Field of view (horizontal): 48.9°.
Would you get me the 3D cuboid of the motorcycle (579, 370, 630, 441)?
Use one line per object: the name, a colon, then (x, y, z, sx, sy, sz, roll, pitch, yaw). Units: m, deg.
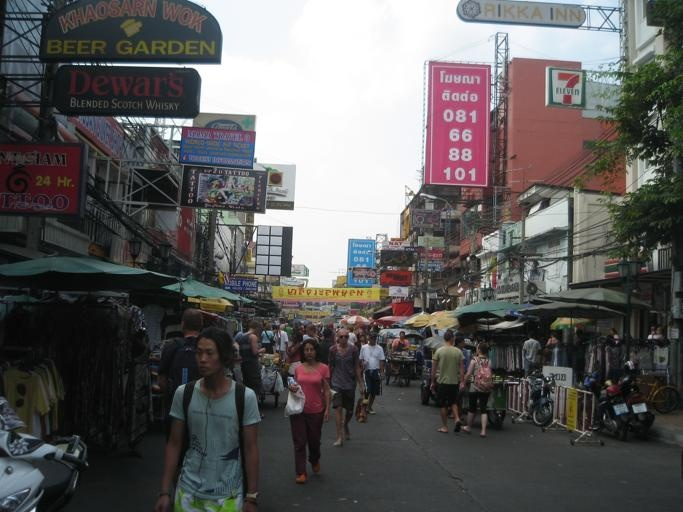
motorcycle: (5.799, 3.134, 16.343, 0.756, 1.353, 1.925, -4, 4, -5)

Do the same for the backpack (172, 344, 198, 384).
backpack: (-2.237, 1.563, 10.720, 0.428, 0.667, 0.359, 4, 20, -10)

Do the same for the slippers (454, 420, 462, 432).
slippers: (2.472, 3.675, 15.886, 0.124, 0.366, 0.149, 4, 38, 2)

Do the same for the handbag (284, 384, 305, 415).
handbag: (-0.711, 2.246, 11.601, 0.295, 0.507, 0.276, 3, 2, -3)

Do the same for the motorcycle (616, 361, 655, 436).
motorcycle: (6.207, 3.125, 16.323, 0.791, 1.067, 1.577, -1, 1, 7)

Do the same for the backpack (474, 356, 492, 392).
backpack: (3.016, 2.536, 16.031, 0.351, 0.638, 0.616, 1, 9, -4)

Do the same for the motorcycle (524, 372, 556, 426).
motorcycle: (4.680, 3.384, 17.668, 0.404, 0.933, 1.469, 1, -6, -1)

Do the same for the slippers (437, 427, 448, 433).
slippers: (2.155, 3.732, 15.951, 0.200, 0.148, 0.096, 10, 7, 36)
